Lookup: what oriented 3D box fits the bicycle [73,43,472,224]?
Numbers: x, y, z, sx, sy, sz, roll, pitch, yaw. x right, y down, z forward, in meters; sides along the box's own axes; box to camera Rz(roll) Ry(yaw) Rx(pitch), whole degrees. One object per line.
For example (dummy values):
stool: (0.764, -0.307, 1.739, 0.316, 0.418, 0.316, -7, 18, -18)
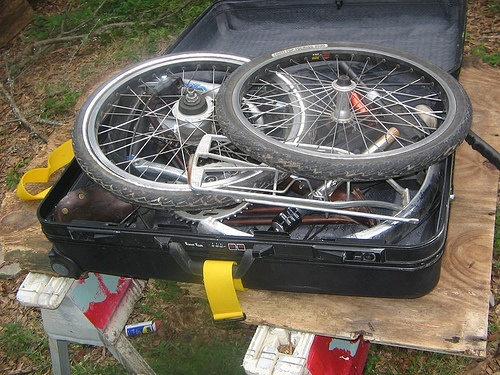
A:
bicycle: (0.032, -0.170, 2.064, 1.822, 0.492, 0.957, 1, 42, 10)
